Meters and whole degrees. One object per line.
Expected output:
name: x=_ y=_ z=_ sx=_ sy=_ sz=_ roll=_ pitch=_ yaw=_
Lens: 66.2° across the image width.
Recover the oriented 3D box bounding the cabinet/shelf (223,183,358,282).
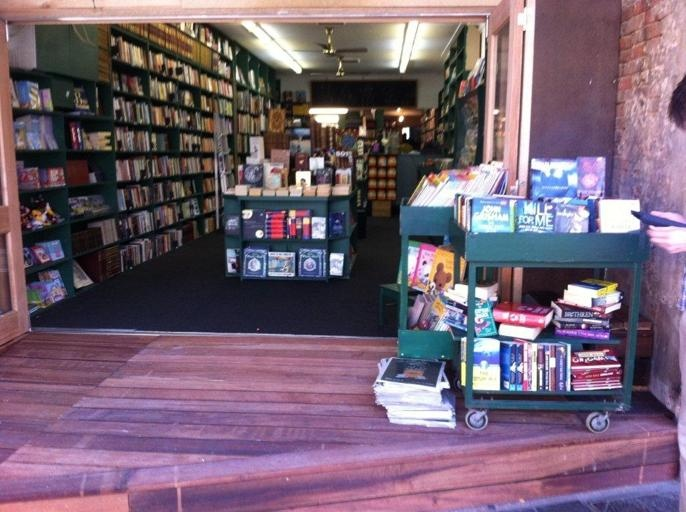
cabinet/shelf: x=-0.695 y=-0.155 z=6.655 sx=1.581 sy=1.076 sz=0.917 roll=0 pitch=-1 yaw=-2

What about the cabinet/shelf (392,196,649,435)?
cabinet/shelf: x=1.015 y=0.315 z=3.045 sx=1.381 sy=1.090 sz=0.806 roll=1 pitch=15 yaw=6

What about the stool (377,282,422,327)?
stool: x=0.468 y=0.419 z=4.771 sx=0.353 sy=0.351 sz=0.363 roll=6 pitch=18 yaw=20
